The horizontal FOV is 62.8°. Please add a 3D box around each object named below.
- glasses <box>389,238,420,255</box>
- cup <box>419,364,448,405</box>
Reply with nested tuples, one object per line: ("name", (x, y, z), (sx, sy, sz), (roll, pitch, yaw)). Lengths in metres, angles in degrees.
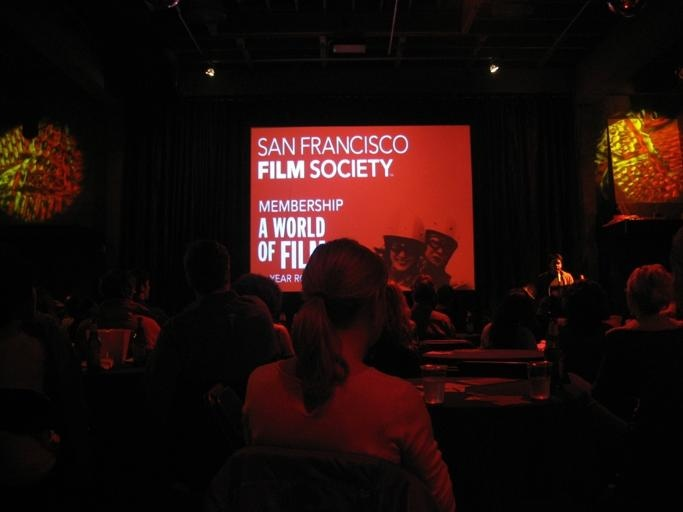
("glasses", (0.918, -0.145, 7.891), (0.222, 0.121, 0.343), (1, -18, 23))
("cup", (0.448, 0.625, 2.793), (0.147, 0.213, 0.167), (1, -2, -27))
